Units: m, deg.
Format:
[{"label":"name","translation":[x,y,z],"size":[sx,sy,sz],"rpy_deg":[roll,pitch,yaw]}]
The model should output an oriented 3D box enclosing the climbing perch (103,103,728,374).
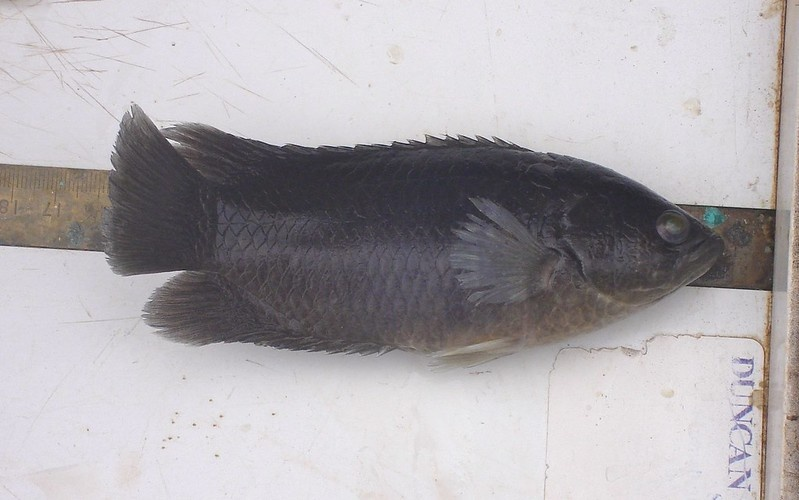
[{"label":"climbing perch","translation":[0.038,0.010,4.894],"size":[2.740,0.453,1.051],"rpy_deg":[3,92,1]}]
